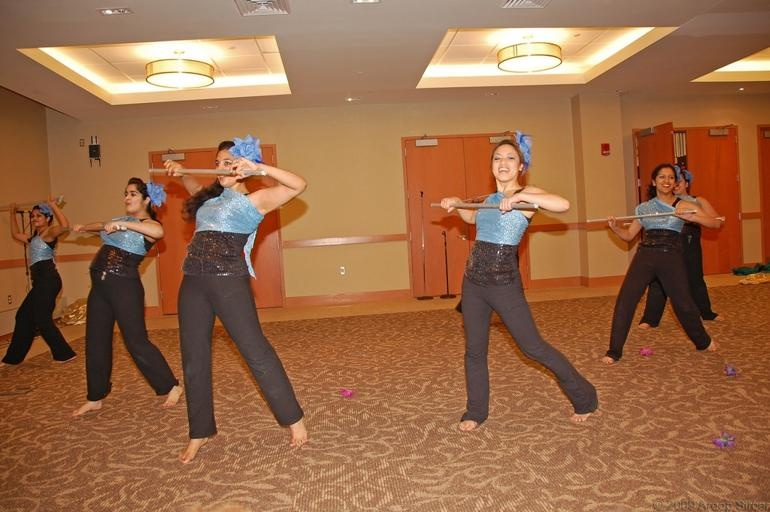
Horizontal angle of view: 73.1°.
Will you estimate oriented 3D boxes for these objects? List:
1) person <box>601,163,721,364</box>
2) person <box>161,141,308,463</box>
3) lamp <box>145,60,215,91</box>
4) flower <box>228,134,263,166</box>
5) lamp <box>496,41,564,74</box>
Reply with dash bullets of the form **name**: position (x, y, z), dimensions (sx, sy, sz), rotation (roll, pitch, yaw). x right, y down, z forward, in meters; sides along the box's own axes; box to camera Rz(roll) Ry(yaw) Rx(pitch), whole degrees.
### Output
- **person**: position (3.032, 0.062, 5.669), dimensions (1.062, 2.042, 1.279), rotation (5, 16, 31)
- **person**: position (-1.228, 0.414, 4.277), dimensions (1.065, 2.387, 0.718), rotation (-4, 14, 2)
- **lamp**: position (-3.070, -2.724, 7.729), dimensions (0.924, 0.370, 0.607), rotation (-5, 13, -9)
- **flower**: position (-1.132, -0.855, 4.210), dimensions (0.232, 0.222, 0.335), rotation (-8, 14, -18)
- **lamp**: position (2.186, -2.996, 7.837), dimensions (0.916, 0.352, 0.671), rotation (-4, 13, -3)
